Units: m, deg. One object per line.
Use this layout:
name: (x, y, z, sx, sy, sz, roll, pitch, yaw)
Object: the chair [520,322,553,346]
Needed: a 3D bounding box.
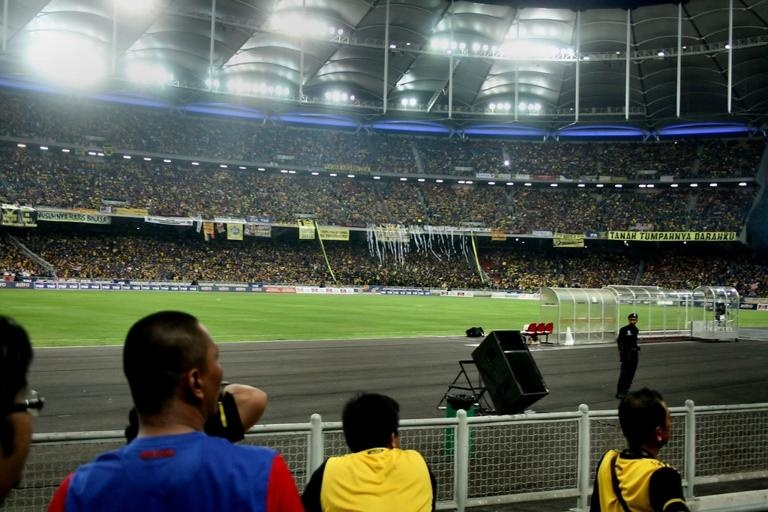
chair: (9.459, 4.782, 46.677, 2.611, 1.270, 0.851, 0, 1, -26)
